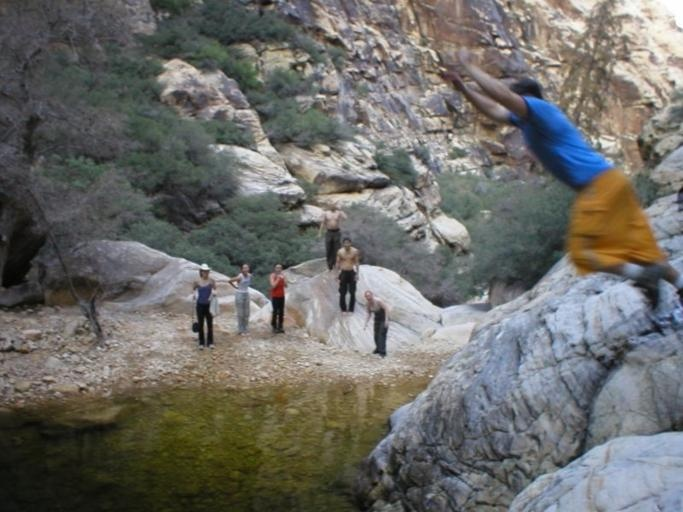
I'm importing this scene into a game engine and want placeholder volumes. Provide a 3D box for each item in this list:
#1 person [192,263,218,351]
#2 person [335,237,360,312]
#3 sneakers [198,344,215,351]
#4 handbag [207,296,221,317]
[{"bbox_3d":[-2.502,0.879,12.141,0.492,1.600,0.963,8,11,-10],"label":"person"},{"bbox_3d":[0.124,0.425,14.481,0.594,1.698,0.839,10,11,1],"label":"person"},{"bbox_3d":[-2.469,1.680,12.009,0.247,0.097,0.099,-2,0,1],"label":"sneakers"},{"bbox_3d":[-2.252,0.903,11.834,0.160,0.424,0.237,14,11,21],"label":"handbag"}]
